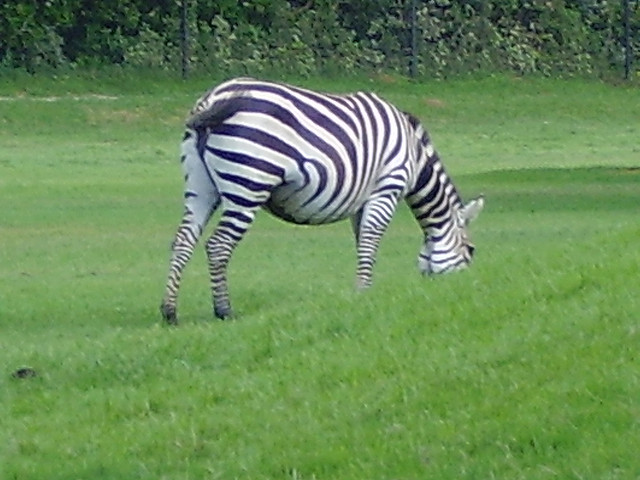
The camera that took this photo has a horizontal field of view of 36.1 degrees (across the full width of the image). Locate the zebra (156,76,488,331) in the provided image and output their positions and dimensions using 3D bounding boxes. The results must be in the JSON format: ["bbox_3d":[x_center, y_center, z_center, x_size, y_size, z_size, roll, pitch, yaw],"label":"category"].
[{"bbox_3d":[0.284,-0.523,15.733,5.291,3.944,1.713,0,5,-28],"label":"zebra"}]
